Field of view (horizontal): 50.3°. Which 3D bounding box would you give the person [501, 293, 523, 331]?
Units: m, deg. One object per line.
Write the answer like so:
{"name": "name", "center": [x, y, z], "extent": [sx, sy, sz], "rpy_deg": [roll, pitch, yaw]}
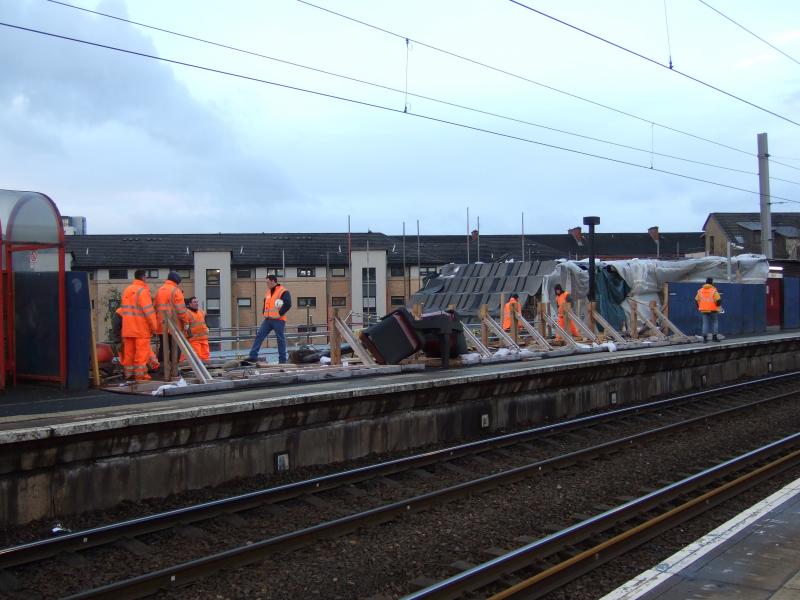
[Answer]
{"name": "person", "center": [2.791, 0.301, 21.215], "extent": [0.449, 0.883, 0.438], "rpy_deg": [4, 13, 12]}

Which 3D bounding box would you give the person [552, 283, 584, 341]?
{"name": "person", "center": [4.633, 0.343, 23.511], "extent": [0.798, 1.561, 2.365], "rpy_deg": [7, 7, 12]}

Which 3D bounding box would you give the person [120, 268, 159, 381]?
{"name": "person", "center": [-4.496, 0.427, 14.612], "extent": [0.685, 1.937, 0.917], "rpy_deg": [3, 7, -18]}

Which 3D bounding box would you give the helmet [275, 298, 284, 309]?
{"name": "helmet", "center": [-2.488, 0.075, 17.477], "extent": [0.185, 0.139, 0.164], "rpy_deg": [-4, -1, 12]}

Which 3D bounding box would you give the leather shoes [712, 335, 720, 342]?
{"name": "leather shoes", "center": [8.652, 1.042, 23.440], "extent": [0.194, 0.087, 0.271], "rpy_deg": [-1, 4, 6]}
